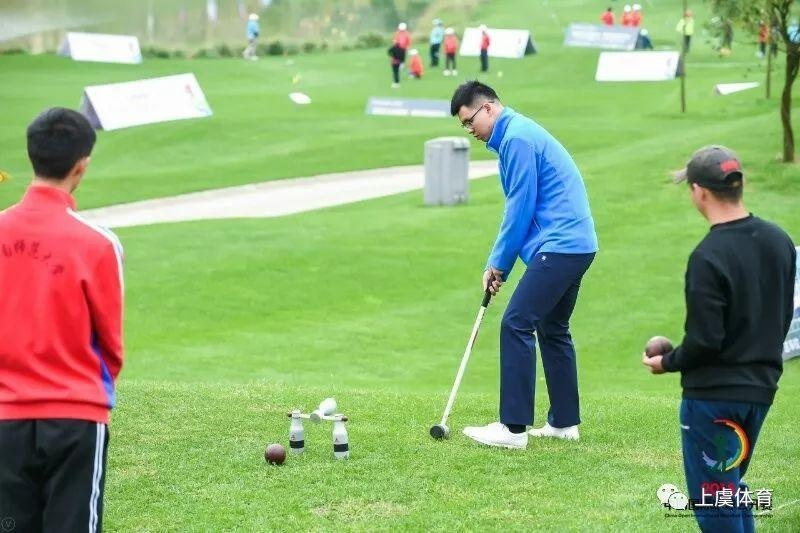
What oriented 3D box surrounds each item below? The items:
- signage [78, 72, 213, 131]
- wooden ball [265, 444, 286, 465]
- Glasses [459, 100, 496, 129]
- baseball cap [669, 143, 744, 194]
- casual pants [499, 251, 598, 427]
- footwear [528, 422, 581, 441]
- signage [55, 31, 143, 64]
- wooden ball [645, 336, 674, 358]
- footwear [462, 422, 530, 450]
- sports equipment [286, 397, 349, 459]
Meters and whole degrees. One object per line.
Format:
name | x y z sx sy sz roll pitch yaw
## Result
signage | -2.554 -1.833 14.231 1.138 0.713 0.354 -8 -10 9
wooden ball | -0.954 1.455 10.808 0.163 0.154 0.090 -4 9 -8
Glasses | 0.602 -1.178 11.061 0.194 0.055 0.184 -46 6 -13
baseball cap | 2.072 -0.697 9.501 0.350 0.223 0.453 -22 30 -29
casual pants | 1.110 0.599 11.026 0.784 1.422 0.323 -9 11 -30
footwear | 1.234 1.339 11.306 0.445 0.158 0.144 2 2 16
signage | -3.003 -2.200 14.195 0.587 0.181 0.377 2 44 -21
wooden ball | 1.759 0.563 9.638 0.193 0.151 0.151 -1 26 10
footwear | 0.751 1.337 11.127 0.523 0.215 0.181 7 -8 14
sports equipment | -0.632 1.258 11.003 0.515 0.447 0.410 -1 9 10
